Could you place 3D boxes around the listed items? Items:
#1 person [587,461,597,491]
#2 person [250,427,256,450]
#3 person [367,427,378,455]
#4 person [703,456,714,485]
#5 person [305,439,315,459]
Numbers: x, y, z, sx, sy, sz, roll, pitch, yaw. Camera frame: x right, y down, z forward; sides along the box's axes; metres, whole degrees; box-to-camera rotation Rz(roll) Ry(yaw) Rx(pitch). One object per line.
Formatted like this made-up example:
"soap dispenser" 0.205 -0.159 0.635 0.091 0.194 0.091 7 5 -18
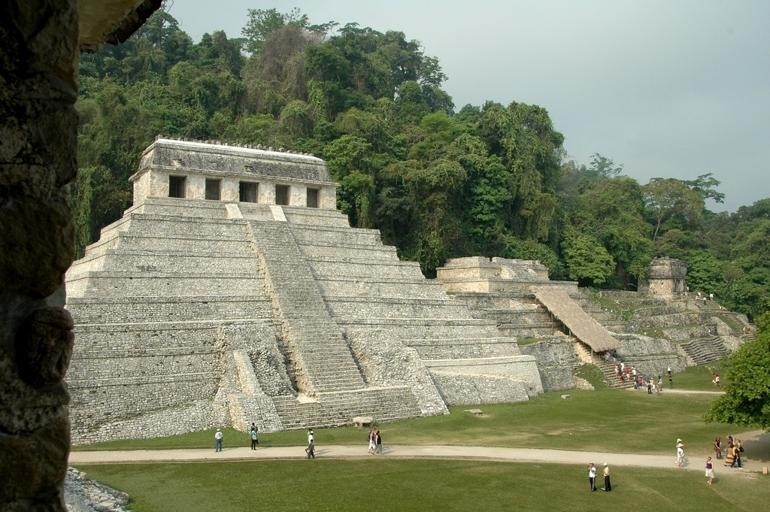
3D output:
"person" 6.161 6.524 21.036 0.284 0.749 1.092 -12 -14 11
"person" -4.429 6.142 23.865 0.229 0.737 0.484 -5 -15 -16
"person" -0.386 6.198 23.819 0.425 0.807 0.585 -8 -15 -4
"person" 9.933 6.576 21.750 0.267 0.769 0.628 -15 -16 20
"person" -2.432 6.284 23.073 0.290 0.576 0.823 -6 -14 -10
